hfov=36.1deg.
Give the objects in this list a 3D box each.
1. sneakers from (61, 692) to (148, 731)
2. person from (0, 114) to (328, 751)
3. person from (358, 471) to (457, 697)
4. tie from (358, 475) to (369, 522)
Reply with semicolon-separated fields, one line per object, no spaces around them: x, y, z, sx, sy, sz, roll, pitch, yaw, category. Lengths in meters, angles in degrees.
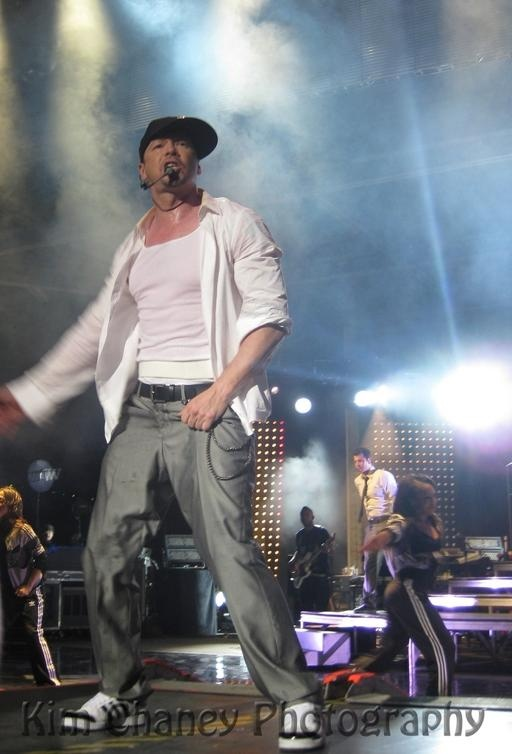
-0.423;0.928;2.181;0.254;0.089;0.091;9;-31;-16;sneakers
-0.273;0.097;2.324;0.979;1.773;0.274;-4;-9;20;person
0.642;0.887;3.462;0.410;0.883;0.569;-2;-8;9;person
1.185;1.352;8.731;0.134;0.500;0.050;-1;2;-34;tie
